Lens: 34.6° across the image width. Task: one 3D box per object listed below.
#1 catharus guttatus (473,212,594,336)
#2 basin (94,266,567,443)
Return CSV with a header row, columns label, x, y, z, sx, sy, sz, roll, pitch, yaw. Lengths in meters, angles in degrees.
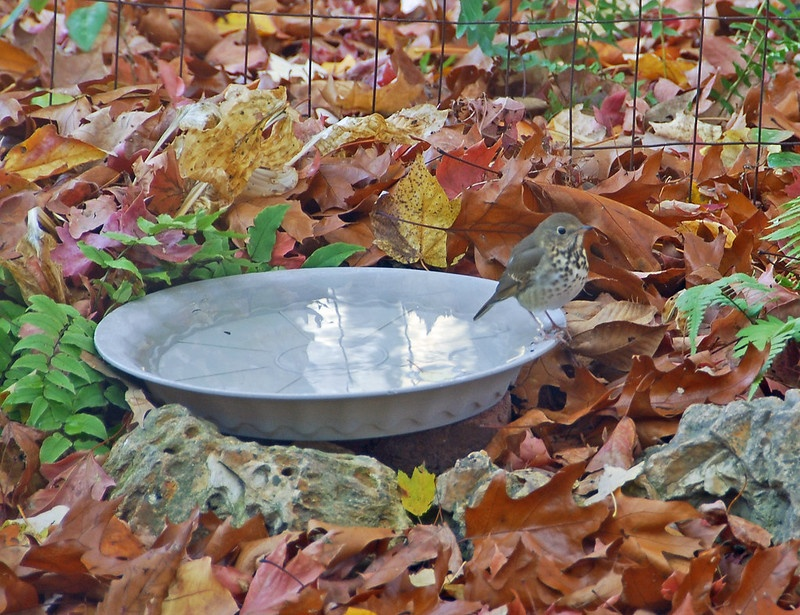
label,x,y,z,sx,sy,sz,roll,pitch,yaw
catharus guttatus,0.607,-0.182,5.910,0.639,0.560,0.368,7,17,38
basin,-0.326,0.095,5.543,1.847,0.490,1.055,-1,53,-3
